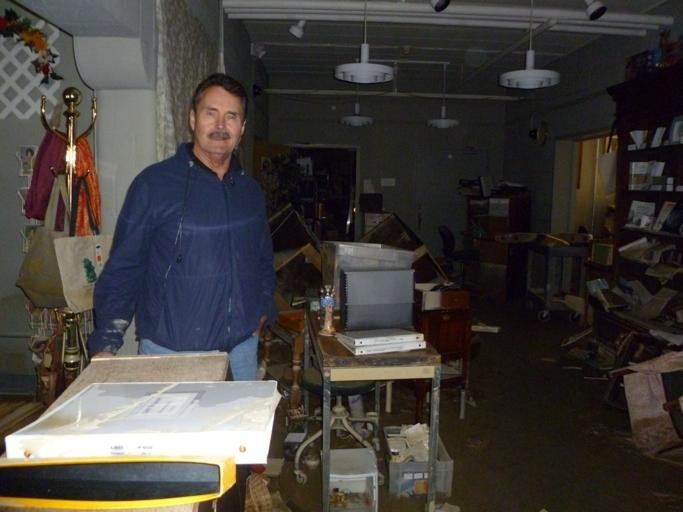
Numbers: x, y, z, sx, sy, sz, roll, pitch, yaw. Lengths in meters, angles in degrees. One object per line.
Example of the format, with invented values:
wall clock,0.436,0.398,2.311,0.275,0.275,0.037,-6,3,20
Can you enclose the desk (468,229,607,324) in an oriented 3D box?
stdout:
desk,3.080,0.199,8.192,1.021,1.576,1.725,0,4,-11

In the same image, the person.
person,-0.813,-0.140,2.913,0.954,1.616,0.330,0,2,-40

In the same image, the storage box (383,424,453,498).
storage box,0.493,1.406,3.887,0.280,0.197,0.462,0,6,0

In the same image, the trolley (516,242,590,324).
trolley,3.037,0.353,7.664,0.525,0.984,0.705,3,6,21

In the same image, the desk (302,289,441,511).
desk,0.138,1.154,3.928,0.804,1.260,2.206,-1,7,-5

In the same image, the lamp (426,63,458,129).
lamp,1.799,-2.689,9.904,0.511,1.308,2.519,2,1,10
